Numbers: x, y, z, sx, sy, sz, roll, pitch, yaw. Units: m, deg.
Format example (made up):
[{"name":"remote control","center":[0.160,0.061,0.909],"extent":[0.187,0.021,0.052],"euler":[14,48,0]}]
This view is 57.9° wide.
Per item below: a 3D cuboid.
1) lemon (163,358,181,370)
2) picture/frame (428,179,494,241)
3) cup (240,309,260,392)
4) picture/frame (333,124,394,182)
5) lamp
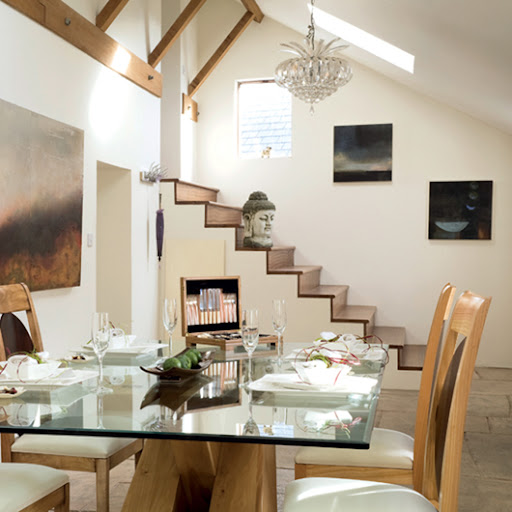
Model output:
[{"name":"lemon","center":[-0.249,0.319,1.367],"extent":[0.031,0.027,0.043],"euler":[-4,2,-8]},{"name":"picture/frame","center":[2.250,-0.505,5.036],"extent":[0.569,0.675,0.024],"euler":[0,1,14]},{"name":"cup","center":[-0.015,0.274,1.391],"extent":[0.060,0.242,0.057],"euler":[1,10,0]},{"name":"picture/frame","center":[1.248,-1.179,5.260],"extent":[0.576,0.650,0.023],"euler":[1,1,17]},{"name":"lamp","center":[0.549,-1.874,4.236],"extent":[0.628,1.003,1.399],"euler":[0,0,12]}]
